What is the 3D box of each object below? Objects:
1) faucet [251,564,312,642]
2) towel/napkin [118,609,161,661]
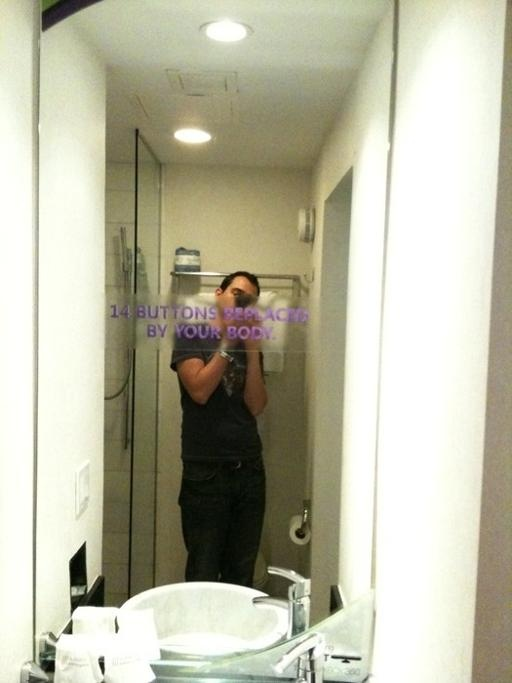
[{"bbox_3d":[0.052,0.600,1.407,0.126,0.213,0.043,4,15,2],"label":"faucet"},{"bbox_3d":[-0.254,0.634,1.354,0.090,0.101,0.028,14,-37,-39],"label":"towel/napkin"}]
